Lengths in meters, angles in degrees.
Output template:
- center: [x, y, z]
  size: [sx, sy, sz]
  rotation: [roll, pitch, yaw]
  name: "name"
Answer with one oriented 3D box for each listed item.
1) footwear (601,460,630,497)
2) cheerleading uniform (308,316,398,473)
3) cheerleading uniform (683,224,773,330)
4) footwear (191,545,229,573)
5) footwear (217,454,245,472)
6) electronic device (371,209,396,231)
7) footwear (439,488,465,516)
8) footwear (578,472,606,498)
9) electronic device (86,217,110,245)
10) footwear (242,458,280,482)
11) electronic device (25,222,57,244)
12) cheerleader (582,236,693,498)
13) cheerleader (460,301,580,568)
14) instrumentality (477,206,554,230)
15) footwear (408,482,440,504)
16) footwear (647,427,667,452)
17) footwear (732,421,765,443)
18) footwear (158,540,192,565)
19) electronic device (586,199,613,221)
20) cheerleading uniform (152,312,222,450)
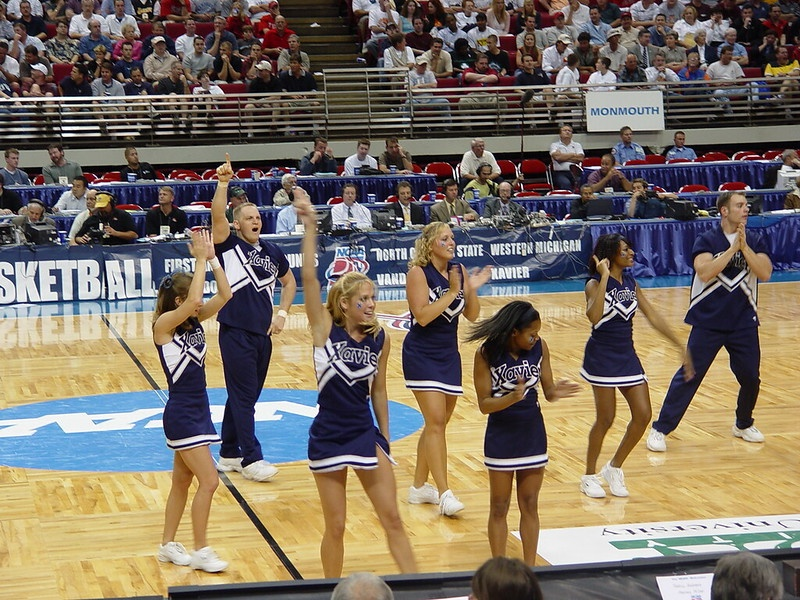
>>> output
- center: [1.636, 1.340, 6.530]
  size: [0.114, 0.120, 0.301]
  rotation: [-7, 29, -24]
  name: "footwear"
- center: [-0.303, 0.525, 4.774]
  size: [0.417, 0.789, 0.372]
  rotation: [-3, 10, 4]
  name: "cheerleading uniform"
- center: [2.710, -0.187, 7.145]
  size: [0.661, 0.841, 0.418]
  rotation: [-1, 10, 11]
  name: "cheerleading uniform"
- center: [-1.207, 1.610, 5.375]
  size: [0.243, 0.119, 0.119]
  rotation: [1, 7, 22]
  name: "footwear"
- center: [-1.395, 1.342, 7.079]
  size: [0.224, 0.153, 0.101]
  rotation: [8, 5, -9]
  name: "footwear"
- center: [-0.284, -1.358, 14.117]
  size: [0.420, 0.397, 0.312]
  rotation: [-1, 22, -5]
  name: "electronic device"
- center: [0.357, 1.450, 6.156]
  size: [0.107, 0.107, 0.254]
  rotation: [-13, -4, -16]
  name: "footwear"
- center: [1.443, 1.392, 6.460]
  size: [0.106, 0.101, 0.228]
  rotation: [-3, 2, -16]
  name: "footwear"
- center: [-4.756, -1.118, 13.371]
  size: [0.344, 0.452, 0.195]
  rotation: [1, 8, -24]
  name: "electronic device"
- center: [-1.123, 1.348, 6.861]
  size: [0.290, 0.133, 0.131]
  rotation: [1, 8, 25]
  name: "footwear"
- center: [-5.514, -1.050, 13.136]
  size: [0.360, 0.312, 0.358]
  rotation: [4, 5, 41]
  name: "electronic device"
- center: [1.653, 0.481, 6.442]
  size: [0.621, 1.943, 0.543]
  rotation: [-1, 11, 11]
  name: "cheerleader"
- center: [0.682, 0.848, 5.105]
  size: [0.609, 1.688, 0.659]
  rotation: [2, 12, 28]
  name: "cheerleader"
- center: [1.916, -1.397, 14.616]
  size: [0.813, 0.265, 0.592]
  rotation: [-2, 3, -18]
  name: "instrumentality"
- center: [0.177, 1.438, 6.395]
  size: [0.287, 0.135, 0.101]
  rotation: [-2, 10, 2]
  name: "footwear"
- center: [2.196, 1.211, 7.375]
  size: [0.105, 0.106, 0.251]
  rotation: [1, 6, -1]
  name: "footwear"
- center: [3.054, 1.163, 7.557]
  size: [0.113, 0.108, 0.270]
  rotation: [-8, 6, -37]
  name: "footwear"
- center: [-1.441, 1.609, 5.508]
  size: [0.254, 0.116, 0.102]
  rotation: [7, 4, 20]
  name: "footwear"
- center: [3.473, -1.611, 14.956]
  size: [0.403, 0.379, 0.246]
  rotation: [3, 7, -4]
  name: "electronic device"
- center: [-1.359, 0.549, 5.451]
  size: [0.341, 0.826, 0.447]
  rotation: [-6, 11, -16]
  name: "cheerleading uniform"
